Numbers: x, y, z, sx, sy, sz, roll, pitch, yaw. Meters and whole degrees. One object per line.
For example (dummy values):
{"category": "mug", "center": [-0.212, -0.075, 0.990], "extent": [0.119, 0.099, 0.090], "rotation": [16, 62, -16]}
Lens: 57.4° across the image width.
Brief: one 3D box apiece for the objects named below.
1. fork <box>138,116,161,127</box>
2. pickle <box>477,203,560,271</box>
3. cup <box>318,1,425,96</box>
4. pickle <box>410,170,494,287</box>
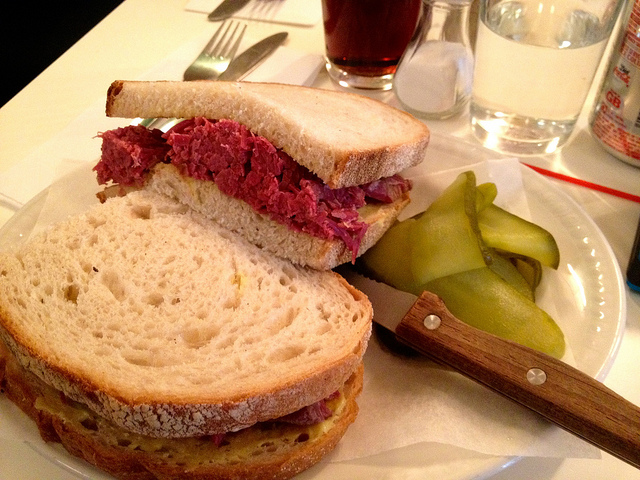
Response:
{"category": "fork", "center": [-0.634, -0.443, 2.180], "extent": [0.054, 0.014, 0.060], "rotation": [11, 50, -1]}
{"category": "pickle", "center": [0.609, -0.016, 1.827], "extent": [0.144, 0.056, 0.252], "rotation": [-39, 51, -17]}
{"category": "cup", "center": [0.199, -0.809, 2.439], "extent": [0.381, 0.418, 0.354], "rotation": [1, 71, -3]}
{"category": "pickle", "center": [0.388, -0.015, 1.783], "extent": [0.118, 0.264, 0.385], "rotation": [45, 27, -16]}
